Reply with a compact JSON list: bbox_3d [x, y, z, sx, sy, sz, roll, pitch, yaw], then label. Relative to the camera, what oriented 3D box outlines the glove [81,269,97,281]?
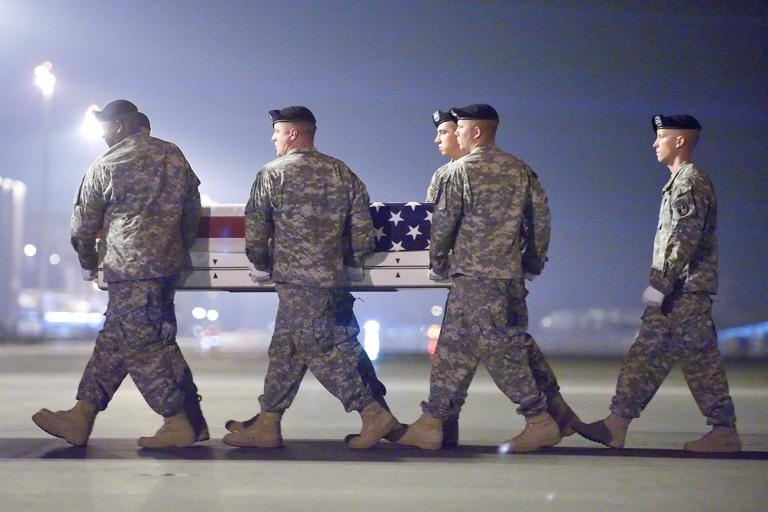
[{"bbox_3d":[-2.854,0.178,9.720,0.125,0.095,0.122,3,-1,-44],"label":"glove"}]

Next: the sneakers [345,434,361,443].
[{"bbox_3d":[-0.297,1.717,9.516,0.137,0.052,0.105,-4,-1,0],"label":"sneakers"}]

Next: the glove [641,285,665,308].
[{"bbox_3d":[2.490,0.379,9.336,0.189,0.199,0.369,2,5,15],"label":"glove"}]

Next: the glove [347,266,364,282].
[{"bbox_3d":[-0.280,0.174,9.737,0.126,0.138,0.163,-5,15,-41],"label":"glove"}]

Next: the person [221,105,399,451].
[{"bbox_3d":[-0.687,0.194,9.492,1.414,3.199,0.607,0,4,-1],"label":"person"}]

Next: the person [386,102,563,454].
[{"bbox_3d":[0.944,0.379,9.440,1.337,2.803,0.647,1,4,1],"label":"person"}]

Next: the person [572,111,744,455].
[{"bbox_3d":[2.704,0.272,9.391,1.138,3.180,0.997,3,5,32],"label":"person"}]
